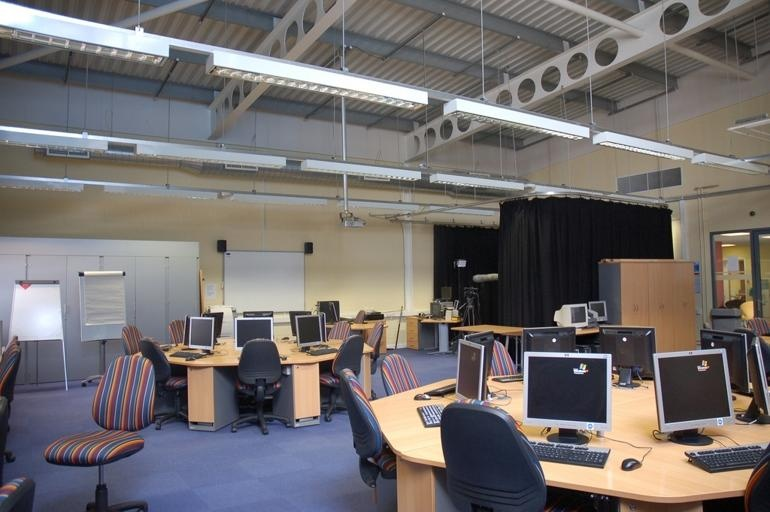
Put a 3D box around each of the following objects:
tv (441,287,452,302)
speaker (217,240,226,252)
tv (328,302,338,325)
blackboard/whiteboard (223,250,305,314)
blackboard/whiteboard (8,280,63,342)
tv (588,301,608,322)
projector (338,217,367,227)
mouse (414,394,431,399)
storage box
[{"bbox_3d":[1.517,0.961,14.634,0.317,0.482,0.085,1,7,12],"label":"tv"},{"bbox_3d":[-3.610,-0.226,12.929,0.228,0.329,0.169,1,4,-14],"label":"speaker"},{"bbox_3d":[-1.152,1.270,12.865,0.152,0.420,0.408,-3,-4,-17],"label":"tv"},{"bbox_3d":[-2.824,0.593,13.260,1.402,1.036,0.053,1,-4,-27],"label":"blackboard/whiteboard"},{"bbox_3d":[-6.154,0.983,10.356,1.060,1.375,0.140,2,-15,-29],"label":"blackboard/whiteboard"},{"bbox_3d":[4.152,1.095,11.537,0.325,0.331,0.115,7,-18,-26],"label":"tv"},{"bbox_3d":[-0.604,-0.657,11.688,0.401,0.150,0.272,0,-2,-15],"label":"projector"},{"bbox_3d":[0.442,1.695,7.058,0.127,0.043,0.075,-5,-5,29],"label":"mouse"},{"bbox_3d":[4.803,0.918,10.852,1.841,1.784,0.645,1,-3,-26],"label":"storage box"}]
